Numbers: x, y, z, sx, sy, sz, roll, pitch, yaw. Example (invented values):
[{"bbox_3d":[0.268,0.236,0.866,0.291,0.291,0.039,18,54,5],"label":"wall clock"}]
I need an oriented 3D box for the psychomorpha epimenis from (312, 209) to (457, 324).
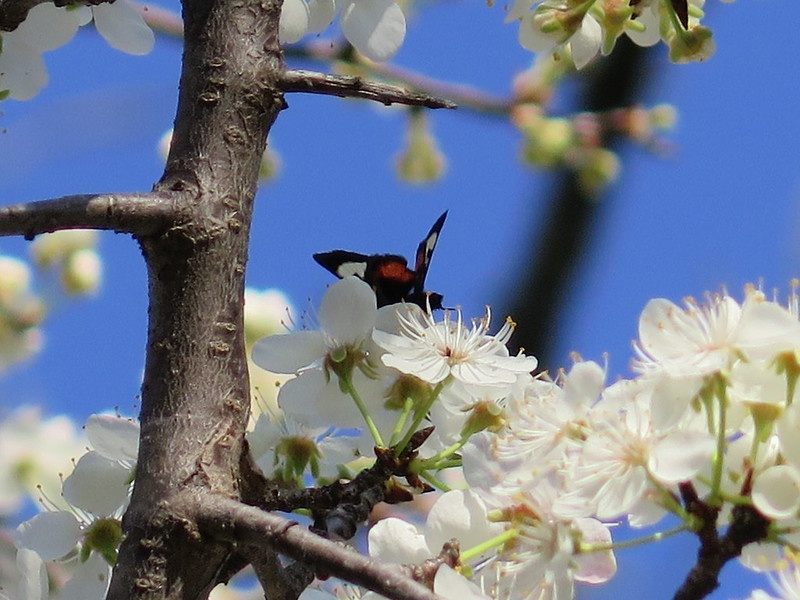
[{"bbox_3d":[-0.032,-0.039,4.802,0.403,0.334,0.425,8,0,29],"label":"psychomorpha epimenis"}]
